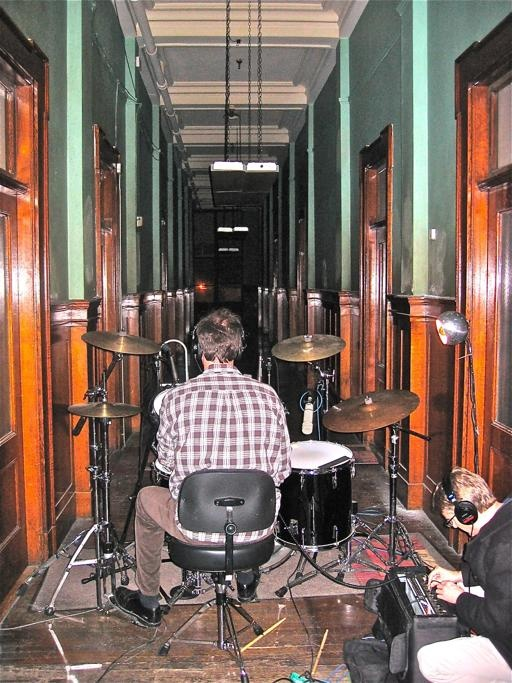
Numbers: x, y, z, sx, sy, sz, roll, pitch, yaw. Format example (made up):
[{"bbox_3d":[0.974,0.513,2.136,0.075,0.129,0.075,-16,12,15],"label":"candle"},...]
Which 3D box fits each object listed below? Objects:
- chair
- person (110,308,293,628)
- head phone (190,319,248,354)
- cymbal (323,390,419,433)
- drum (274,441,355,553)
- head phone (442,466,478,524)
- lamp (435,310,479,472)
[{"bbox_3d":[-0.132,0.798,2.151,0.432,0.800,0.490,-1,3,-10],"label":"chair"},{"bbox_3d":[-0.204,0.491,2.346,0.667,1.168,0.759,1,-1,14],"label":"person"},{"bbox_3d":[-0.144,-0.052,2.287,0.246,0.109,0.227,4,30,-8],"label":"head phone"},{"bbox_3d":[0.508,0.288,2.704,0.416,0.083,0.444,-14,11,5],"label":"cymbal"},{"bbox_3d":[0.304,0.721,2.810,0.393,0.421,0.414,9,28,25],"label":"drum"},{"bbox_3d":[0.597,0.442,1.754,0.061,0.163,0.161,-37,-6,24],"label":"head phone"},{"bbox_3d":[0.929,0.257,2.735,0.172,0.787,0.662,1,3,21],"label":"lamp"}]
